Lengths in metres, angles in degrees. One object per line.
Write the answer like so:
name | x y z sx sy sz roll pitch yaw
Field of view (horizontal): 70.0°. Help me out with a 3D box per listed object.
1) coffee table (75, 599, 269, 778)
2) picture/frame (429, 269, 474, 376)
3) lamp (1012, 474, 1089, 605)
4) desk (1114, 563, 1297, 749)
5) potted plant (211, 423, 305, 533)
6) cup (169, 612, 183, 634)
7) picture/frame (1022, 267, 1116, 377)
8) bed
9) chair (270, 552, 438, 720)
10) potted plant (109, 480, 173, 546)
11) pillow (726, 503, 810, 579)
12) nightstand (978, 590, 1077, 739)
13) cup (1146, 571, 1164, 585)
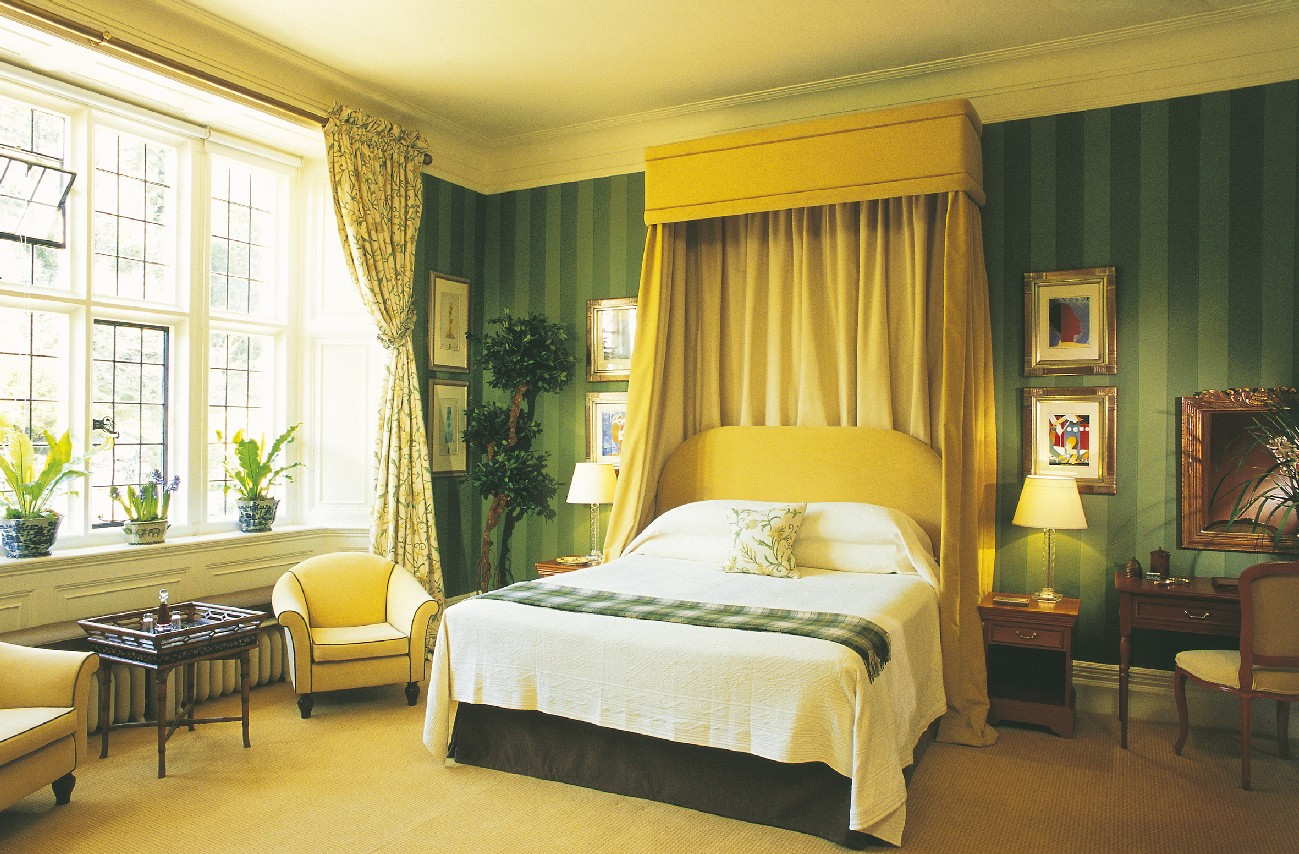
coffee table | -3.206 1.732 6.296 0.887 0.817 0.928 -4 -3 41
picture/frame | -1.815 -0.934 8.436 0.157 0.898 0.619 6 14 24
lamp | 2.899 0.802 6.790 0.478 0.900 0.579 6 14 25
desk | 3.780 1.680 6.774 1.513 1.354 1.197 -2 -4 30
potted plant | -3.253 0.478 7.481 0.717 0.711 0.713 -11 4 44
cup | -3.149 1.315 6.188 0.086 0.148 0.085 -1 -1 0
picture/frame | 3.123 -0.790 6.952 0.616 0.770 0.253 2 13 9
bed | 0.852 1.330 6.503 2.911 1.703 2.847 -2 -4 29
chair | -2.274 1.528 6.986 1.197 0.947 0.943 0 6 -37
potted plant | -3.692 0.618 6.866 0.537 0.503 0.444 -3 0 -22
pillow | 0.808 0.829 6.846 0.593 0.470 0.323 -2 11 25
nightstand | 2.750 1.706 6.713 0.707 0.844 0.619 -1 -2 28
cup | 3.520 1.067 6.496 0.086 0.069 0.067 11 -13 -41
